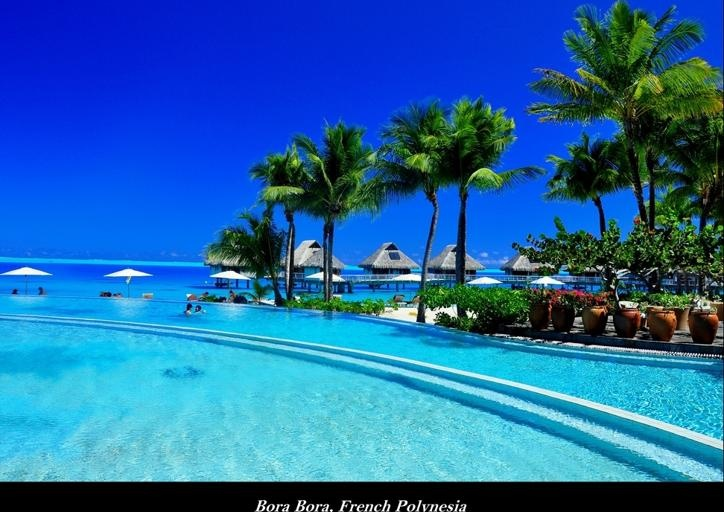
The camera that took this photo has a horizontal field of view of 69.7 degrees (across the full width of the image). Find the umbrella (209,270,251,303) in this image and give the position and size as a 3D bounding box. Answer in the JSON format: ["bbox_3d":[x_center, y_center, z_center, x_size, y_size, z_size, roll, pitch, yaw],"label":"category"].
[{"bbox_3d":[-10.951,2.394,42.549,2.965,2.116,2.557,2,3,-42],"label":"umbrella"}]

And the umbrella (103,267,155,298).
[{"bbox_3d":[-25.354,2.787,56.120,3.247,2.452,3.463,2,-1,-20],"label":"umbrella"}]

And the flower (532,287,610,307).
[{"bbox_3d":[5.641,1.126,14.192,0.850,0.393,1.002,2,1,-7],"label":"flower"}]

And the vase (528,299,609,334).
[{"bbox_3d":[5.561,1.582,14.102,1.930,0.994,0.600,3,9,25],"label":"vase"}]

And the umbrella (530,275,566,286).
[{"bbox_3d":[15.365,2.003,42.824,1.755,0.742,1.936,2,-4,-31],"label":"umbrella"}]
